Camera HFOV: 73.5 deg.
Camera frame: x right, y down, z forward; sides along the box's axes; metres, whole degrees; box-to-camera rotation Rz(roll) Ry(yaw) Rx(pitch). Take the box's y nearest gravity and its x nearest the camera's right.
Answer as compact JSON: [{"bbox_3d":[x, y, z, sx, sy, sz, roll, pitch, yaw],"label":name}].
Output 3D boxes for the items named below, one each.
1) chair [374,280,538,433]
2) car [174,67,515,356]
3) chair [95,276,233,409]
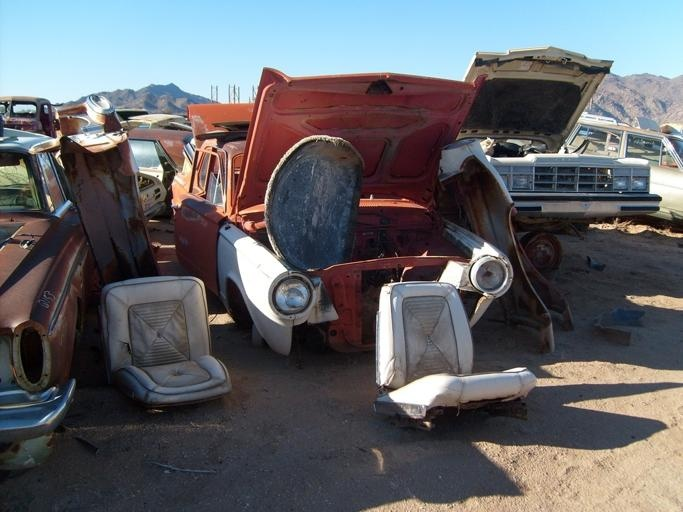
[{"bbox_3d":[0.801,0.680,3.342,0.997,0.855,1.093,-2,-2,42],"label":"chair"},{"bbox_3d":[-0.260,-0.800,5.048,2.349,1.920,3.523,-5,30,-17],"label":"car"},{"bbox_3d":[-1.363,0.682,3.691,0.822,0.748,1.069,-4,15,-41],"label":"chair"}]
